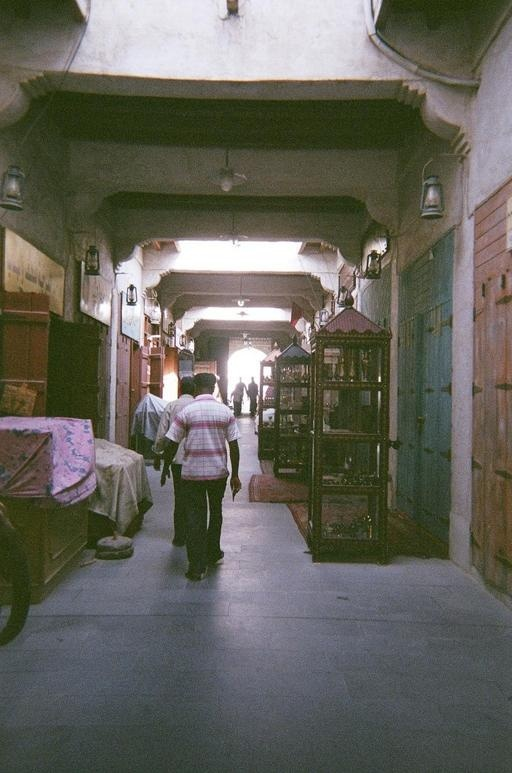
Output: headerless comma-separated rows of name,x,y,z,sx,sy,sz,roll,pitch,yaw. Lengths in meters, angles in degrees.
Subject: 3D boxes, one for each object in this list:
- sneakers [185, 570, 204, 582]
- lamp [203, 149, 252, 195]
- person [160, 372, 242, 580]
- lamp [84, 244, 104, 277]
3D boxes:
sneakers,-0.438,1.368,4.642,0.138,0.060,0.117,0,2,-7
lamp,-0.340,-2.686,8.201,0.412,0.622,0.207,1,-6,2
person,-0.372,0.655,4.839,0.409,1.498,0.478,1,1,41
lamp,-2.119,-1.645,8.252,0.170,0.417,0.613,0,2,-16
